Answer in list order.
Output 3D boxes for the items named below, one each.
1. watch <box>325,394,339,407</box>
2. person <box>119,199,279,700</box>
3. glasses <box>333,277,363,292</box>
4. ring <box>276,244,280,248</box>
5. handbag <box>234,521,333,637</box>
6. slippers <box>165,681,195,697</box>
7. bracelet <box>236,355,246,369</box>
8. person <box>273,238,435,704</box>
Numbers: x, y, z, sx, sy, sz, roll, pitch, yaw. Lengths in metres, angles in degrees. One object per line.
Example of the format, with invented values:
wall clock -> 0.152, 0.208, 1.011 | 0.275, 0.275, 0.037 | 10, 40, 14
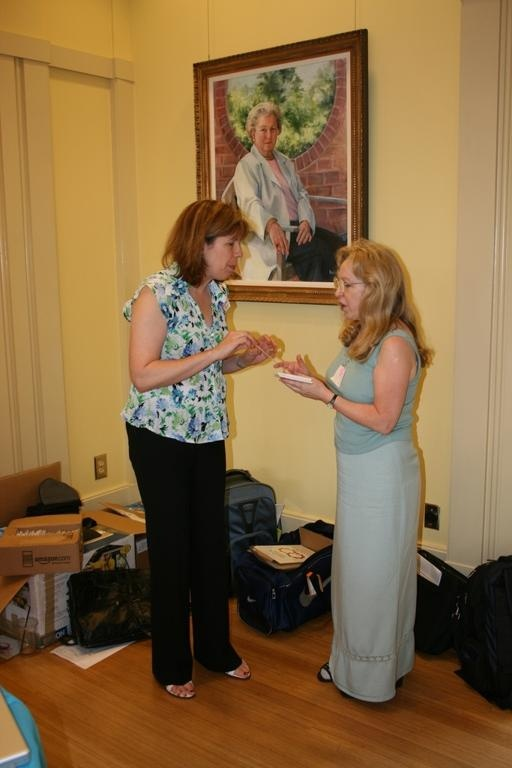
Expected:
watch -> 0.229, 0.049, 1.903 | 0.013, 0.036, 0.029 | 27, -6, -14
person -> -0.195, 0.248, 2.026 | 0.399, 1.627, 0.515 | 1, 6, 21
glasses -> 0.292, -0.308, 1.944 | 0.072, 0.024, 0.069 | -2, 11, -15
ring -> 0.106, -0.668, 3.041 | 0.013, 0.014, 0.014 | -1, 6, 2
handbag -> 0.140, 0.813, 2.607 | 0.410, 0.208, 0.296 | -20, 25, -41
slippers -> -0.256, 1.031, 2.107 | 0.079, 0.044, 0.028 | 1, -32, 10
bracelet -> -0.052, -0.075, 2.203 | 0.036, 0.035, 0.009 | -2, 5, 38
person -> 0.313, 0.304, 2.106 | 0.509, 1.464, 0.448 | 1, 11, 7
